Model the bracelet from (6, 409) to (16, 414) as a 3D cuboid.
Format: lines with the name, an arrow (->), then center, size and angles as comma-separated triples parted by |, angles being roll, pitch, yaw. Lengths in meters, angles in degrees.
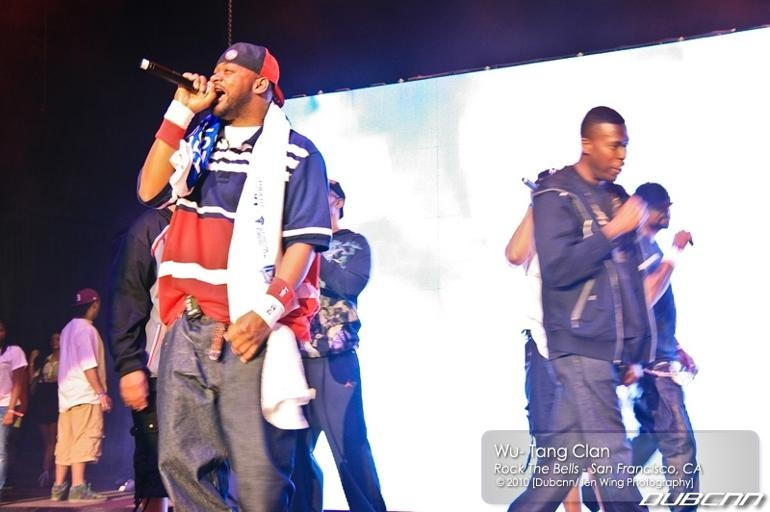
bracelet -> -3.266, 1.358, 6.375 | 0.049, 0.036, 0.075 | 5, -9, -26

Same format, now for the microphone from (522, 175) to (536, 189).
microphone -> 0.957, -0.491, 4.817 | 0.077, 0.078, 0.025 | -33, -4, 4

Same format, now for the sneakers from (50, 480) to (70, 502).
sneakers -> -2.829, 2.055, 6.383 | 0.102, 0.118, 0.274 | 1, -5, 3

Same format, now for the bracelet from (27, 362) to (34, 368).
bracelet -> -3.454, 1.071, 7.130 | 0.037, 0.036, 0.022 | 2, -1, 8

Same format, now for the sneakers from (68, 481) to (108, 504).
sneakers -> -2.498, 1.989, 6.111 | 0.350, 0.144, 0.285 | 2, -9, -8

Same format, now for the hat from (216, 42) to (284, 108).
hat -> -0.612, -0.928, 3.557 | 0.351, 0.180, 0.242 | 30, -8, -35

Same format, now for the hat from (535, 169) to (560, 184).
hat -> 1.076, -0.541, 4.848 | 0.144, 0.052, 0.076 | -32, 1, 7

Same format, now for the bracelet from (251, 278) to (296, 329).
bracelet -> -0.506, 0.203, 3.262 | 0.142, 0.184, 0.123 | 42, -16, -14
